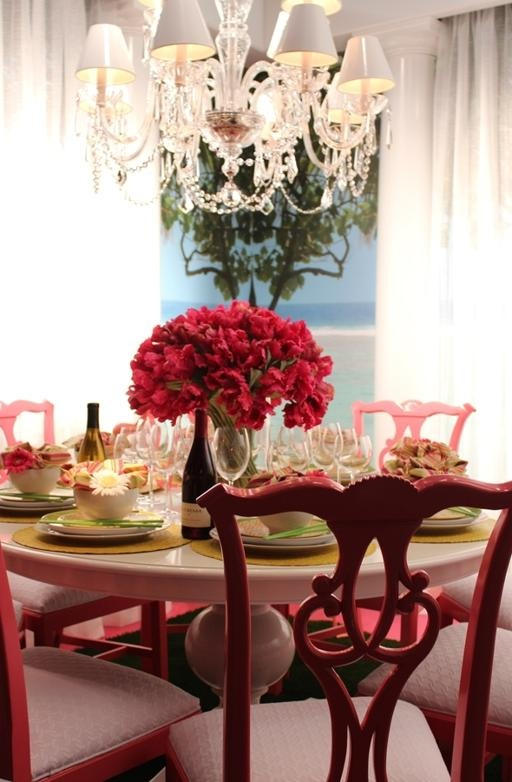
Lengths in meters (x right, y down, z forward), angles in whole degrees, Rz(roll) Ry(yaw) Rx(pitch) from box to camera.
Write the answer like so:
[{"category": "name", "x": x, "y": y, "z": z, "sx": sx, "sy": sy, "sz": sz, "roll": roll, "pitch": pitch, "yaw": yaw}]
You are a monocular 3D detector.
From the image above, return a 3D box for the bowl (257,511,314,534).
[{"category": "bowl", "x": 0.042, "y": 0.221, "z": 1.114, "sx": 0.068, "sy": 0.044, "sz": 0.069, "roll": 1, "pitch": -5, "yaw": 0}]

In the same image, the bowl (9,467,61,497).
[{"category": "bowl", "x": -0.504, "y": 0.205, "z": 1.473, "sx": 0.081, "sy": 0.056, "sz": 0.087, "roll": 0, "pitch": 1, "yaw": 0}]

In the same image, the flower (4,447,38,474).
[{"category": "flower", "x": -0.534, "y": 0.142, "z": 1.456, "sx": 0.062, "sy": 0.024, "sz": 0.065, "roll": 14, "pitch": 33, "yaw": 15}]

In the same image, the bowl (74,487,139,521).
[{"category": "bowl", "x": -0.281, "y": 0.214, "z": 1.207, "sx": 0.082, "sy": 0.047, "sz": 0.081, "roll": 3, "pitch": -6, "yaw": 0}]

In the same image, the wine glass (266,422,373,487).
[{"category": "wine glass", "x": 0.136, "y": 0.110, "z": 1.456, "sx": 0.186, "sy": 0.138, "sz": 0.201, "roll": 1, "pitch": 1, "yaw": -34}]
